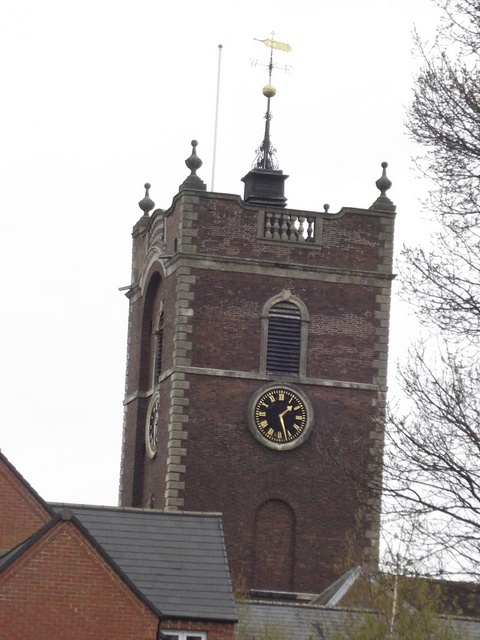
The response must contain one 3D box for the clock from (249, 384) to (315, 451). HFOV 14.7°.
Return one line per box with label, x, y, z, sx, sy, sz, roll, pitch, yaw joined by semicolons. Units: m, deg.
clock;1.021;2.565;49.791;1.151;1.435;0.136;17;-22;-15
